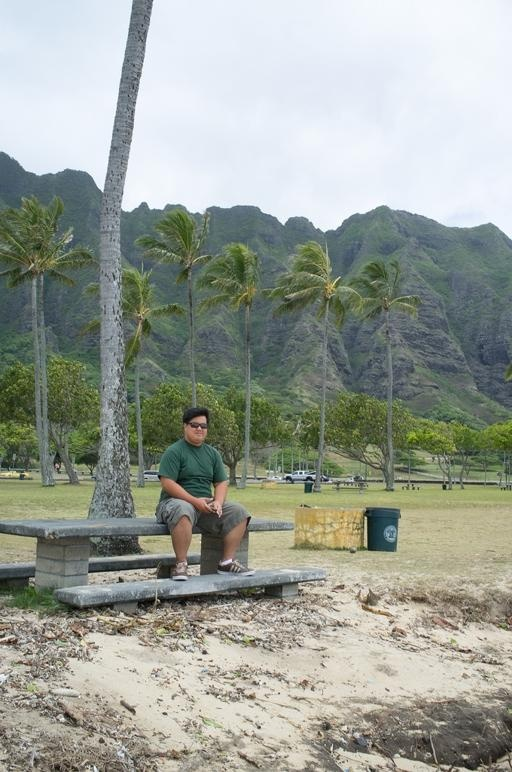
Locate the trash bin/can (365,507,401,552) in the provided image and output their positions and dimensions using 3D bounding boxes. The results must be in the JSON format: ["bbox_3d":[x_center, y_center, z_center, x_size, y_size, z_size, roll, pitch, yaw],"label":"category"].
[{"bbox_3d":[2.126,2.366,11.585,0.657,0.697,0.624,-2,-14,19],"label":"trash bin/can"}]

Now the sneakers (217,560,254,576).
[{"bbox_3d":[-0.160,1.346,5.258,0.276,0.109,0.103,-1,-5,14],"label":"sneakers"}]

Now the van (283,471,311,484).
[{"bbox_3d":[4.754,10.660,82.961,2.753,1.198,1.470,-1,0,-14],"label":"van"}]

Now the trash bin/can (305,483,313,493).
[{"bbox_3d":[3.190,6.139,42.693,0.651,0.644,0.639,4,-7,-25],"label":"trash bin/can"}]
